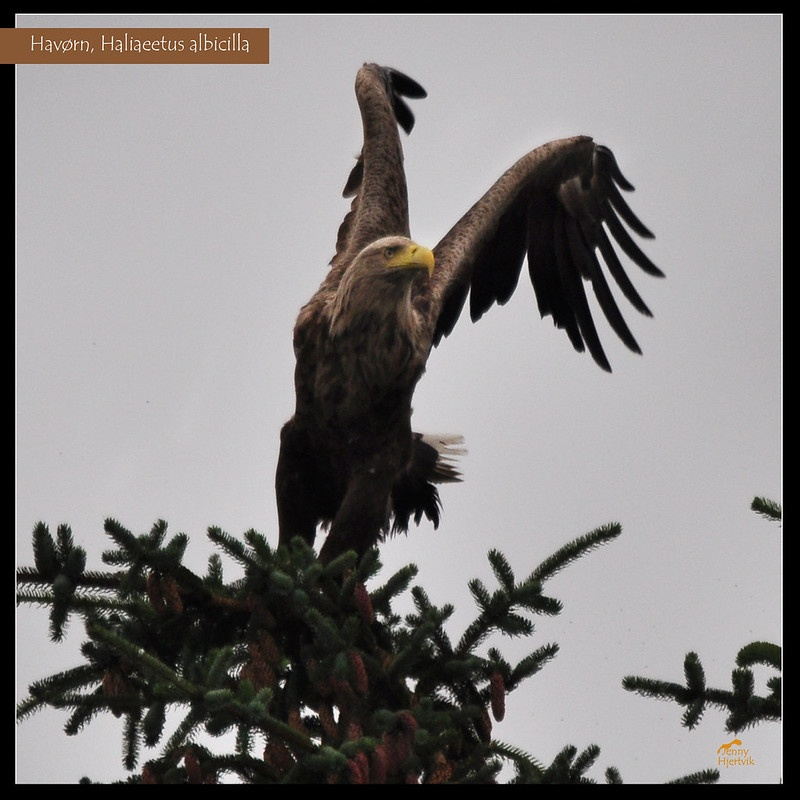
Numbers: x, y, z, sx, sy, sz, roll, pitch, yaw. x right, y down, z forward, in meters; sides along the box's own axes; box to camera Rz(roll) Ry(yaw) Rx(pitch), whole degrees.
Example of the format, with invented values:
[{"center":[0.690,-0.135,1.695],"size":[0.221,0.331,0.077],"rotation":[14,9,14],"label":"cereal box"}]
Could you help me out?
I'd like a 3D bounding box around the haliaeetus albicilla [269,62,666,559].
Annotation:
[{"center":[0.158,-0.325,7.635],"size":[1.206,2.030,0.869],"rotation":[21,-37,-33],"label":"haliaeetus albicilla"}]
